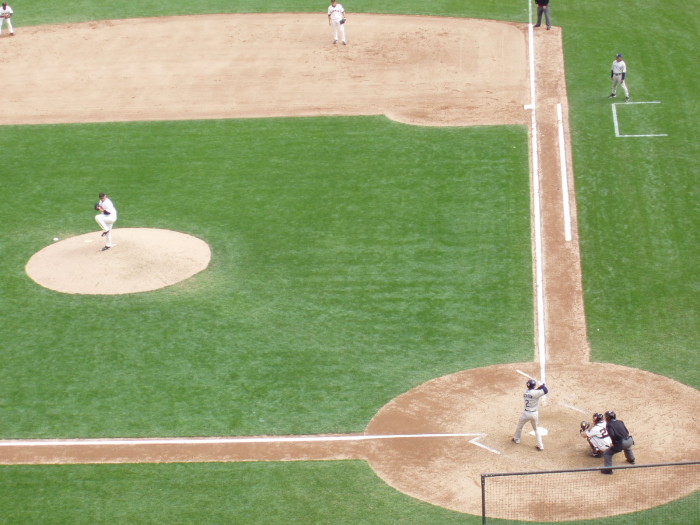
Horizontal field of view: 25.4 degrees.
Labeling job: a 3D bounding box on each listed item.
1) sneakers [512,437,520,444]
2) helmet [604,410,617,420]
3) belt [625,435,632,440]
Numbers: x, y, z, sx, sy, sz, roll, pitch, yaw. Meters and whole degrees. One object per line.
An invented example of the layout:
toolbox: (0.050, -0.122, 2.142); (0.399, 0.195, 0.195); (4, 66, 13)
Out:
sneakers: (6.821, 7.365, 64.231); (0.198, 0.125, 0.338); (-2, 20, -10)
helmet: (10.672, 6.256, 63.486); (0.481, 0.369, 0.333); (-16, -12, -6)
belt: (11.276, 7.133, 63.035); (0.239, 0.049, 0.208); (-4, 30, -7)
